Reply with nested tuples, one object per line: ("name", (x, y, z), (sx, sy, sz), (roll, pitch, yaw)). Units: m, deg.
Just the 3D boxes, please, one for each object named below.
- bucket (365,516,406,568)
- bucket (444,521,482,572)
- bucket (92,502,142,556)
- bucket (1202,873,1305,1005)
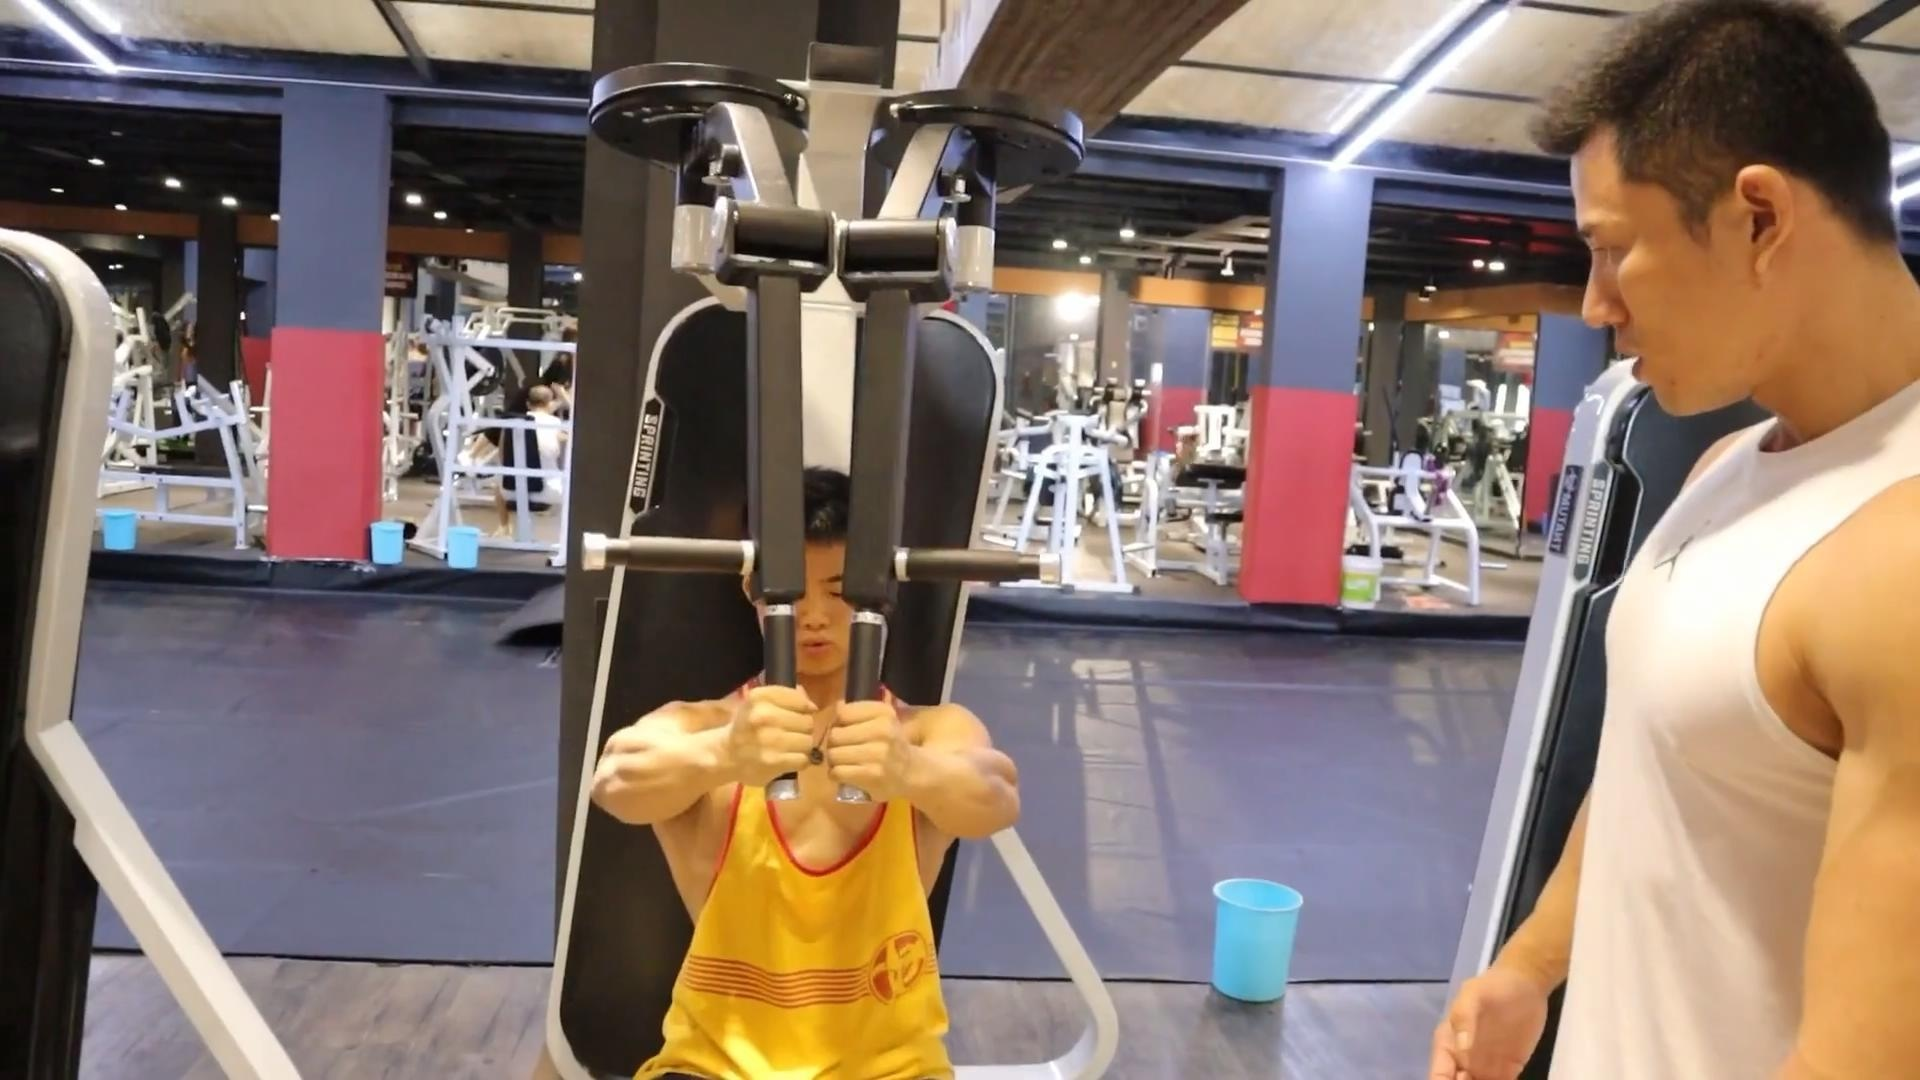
("bucket", (-3.409, 0.029, 8.022), (0.274, 0.267, 0.264), (2, 2, 0))
("bucket", (-2.959, 0.056, 8.065), (0.298, 0.248, 0.247), (-2, 9, -35))
("bucket", (-4.984, -0.056, 7.997), (0.346, 0.302, 0.335), (3, 3, 0))
("bucket", (0.811, 1.093, 3.646), (0.234, 0.292, 0.196), (1, 3, -1))
